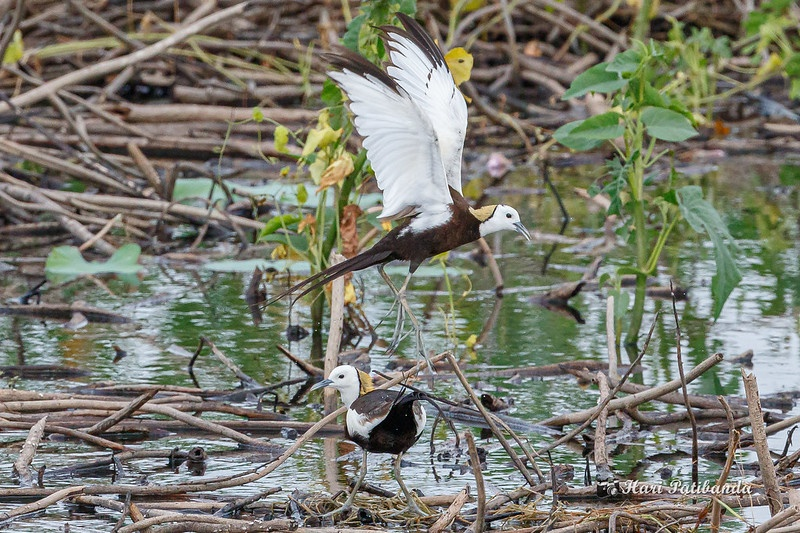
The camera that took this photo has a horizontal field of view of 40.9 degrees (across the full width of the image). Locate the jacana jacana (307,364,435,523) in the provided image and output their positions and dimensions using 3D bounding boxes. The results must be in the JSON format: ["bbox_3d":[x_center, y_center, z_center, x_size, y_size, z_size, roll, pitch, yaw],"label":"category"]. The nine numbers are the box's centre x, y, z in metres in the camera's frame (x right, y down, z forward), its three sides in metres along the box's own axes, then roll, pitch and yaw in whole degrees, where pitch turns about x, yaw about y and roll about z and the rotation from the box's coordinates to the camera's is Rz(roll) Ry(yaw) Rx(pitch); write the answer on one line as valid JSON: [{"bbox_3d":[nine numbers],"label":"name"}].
[{"bbox_3d":[-0.162,1.029,6.302,0.536,0.857,0.762,3,-4,-20],"label":"jacana jacana"}]

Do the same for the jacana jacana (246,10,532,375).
[{"bbox_3d":[0.066,-0.531,7.166,0.898,2.283,1.197,1,-4,22],"label":"jacana jacana"}]
